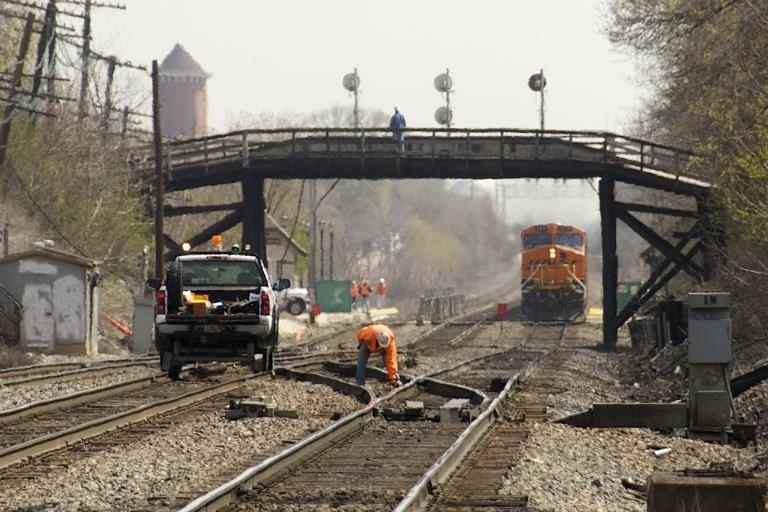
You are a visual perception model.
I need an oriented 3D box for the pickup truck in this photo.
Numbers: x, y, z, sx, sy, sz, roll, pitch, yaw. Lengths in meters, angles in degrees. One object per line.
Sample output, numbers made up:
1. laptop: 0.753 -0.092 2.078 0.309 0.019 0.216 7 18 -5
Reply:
1. pickup truck: -4.685 1.510 36.290 3.228 3.205 6.213 2 2 -1
